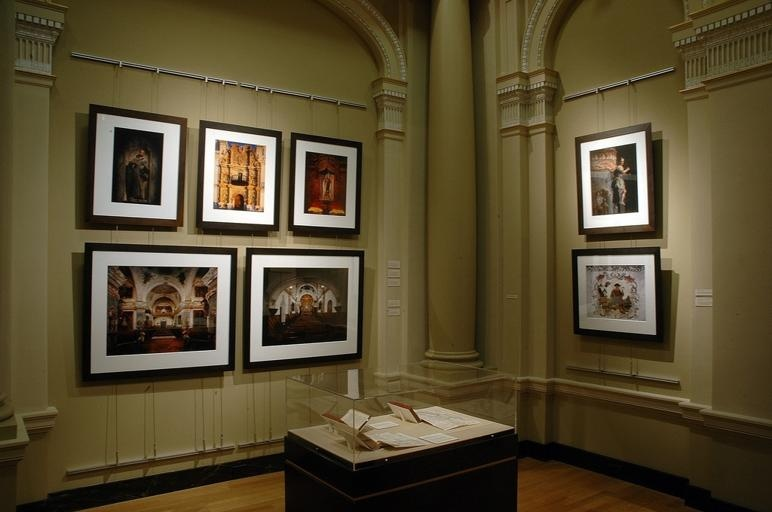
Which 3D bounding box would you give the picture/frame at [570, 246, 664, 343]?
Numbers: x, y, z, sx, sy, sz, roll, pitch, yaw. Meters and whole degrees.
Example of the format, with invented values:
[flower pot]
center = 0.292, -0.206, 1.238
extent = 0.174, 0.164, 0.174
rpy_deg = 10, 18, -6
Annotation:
[picture/frame]
center = 3.223, 0.528, 8.022
extent = 1.245, 1.483, 0.098
rpy_deg = -2, -6, 45
